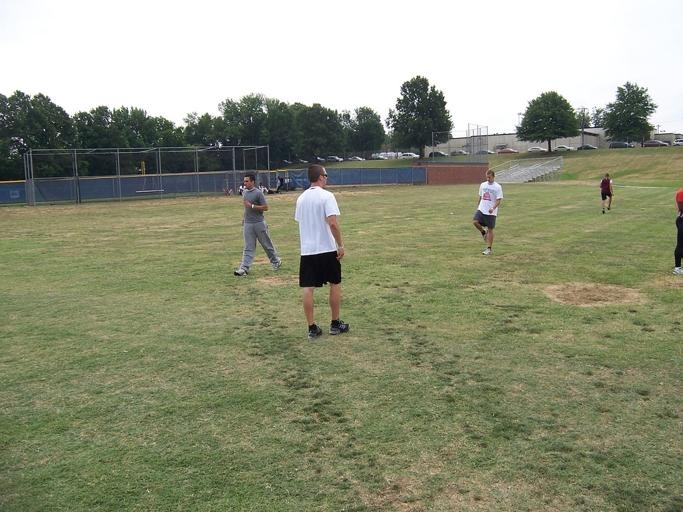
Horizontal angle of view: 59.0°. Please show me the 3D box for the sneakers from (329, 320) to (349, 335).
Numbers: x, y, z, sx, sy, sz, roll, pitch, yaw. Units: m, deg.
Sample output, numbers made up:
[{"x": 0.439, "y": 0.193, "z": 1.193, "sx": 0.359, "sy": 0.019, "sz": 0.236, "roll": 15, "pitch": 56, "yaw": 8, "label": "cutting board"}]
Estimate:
[{"x": -0.051, "y": 0.949, "z": 8.049, "sx": 0.126, "sy": 0.135, "sz": 0.346, "roll": 5, "pitch": 9, "yaw": 39, "label": "sneakers"}]

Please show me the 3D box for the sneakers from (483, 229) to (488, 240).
[{"x": 3.467, "y": -0.551, "z": 14.543, "sx": 0.154, "sy": 0.281, "sz": 0.106, "roll": -8, "pitch": 1, "yaw": -5, "label": "sneakers"}]

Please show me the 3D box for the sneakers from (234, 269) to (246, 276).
[{"x": -1.928, "y": 0.289, "z": 11.464, "sx": 0.259, "sy": 0.127, "sz": 0.223, "roll": -3, "pitch": 13, "yaw": -12, "label": "sneakers"}]

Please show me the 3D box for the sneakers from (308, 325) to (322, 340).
[{"x": -0.369, "y": 0.986, "z": 7.889, "sx": 0.096, "sy": 0.104, "sz": 0.255, "roll": 2, "pitch": 9, "yaw": 16, "label": "sneakers"}]

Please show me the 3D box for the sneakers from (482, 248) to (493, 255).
[{"x": 3.194, "y": -0.107, "z": 13.244, "sx": 0.105, "sy": 0.109, "sz": 0.280, "roll": -1, "pitch": 0, "yaw": 33, "label": "sneakers"}]

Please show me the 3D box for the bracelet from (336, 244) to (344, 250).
[{"x": -0.039, "y": -0.131, "z": 8.031, "sx": 0.121, "sy": 0.051, "sz": 0.142, "roll": 1, "pitch": 8, "yaw": 1, "label": "bracelet"}]

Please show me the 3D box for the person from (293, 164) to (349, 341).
[{"x": -0.254, "y": -0.089, "z": 7.951, "sx": 0.697, "sy": 2.206, "sz": 0.683, "roll": -4, "pitch": 15, "yaw": -15, "label": "person"}]

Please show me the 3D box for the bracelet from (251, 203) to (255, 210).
[{"x": -1.728, "y": -0.976, "z": 11.683, "sx": 0.066, "sy": 0.100, "sz": 0.069, "roll": -2, "pitch": 14, "yaw": -7, "label": "bracelet"}]
